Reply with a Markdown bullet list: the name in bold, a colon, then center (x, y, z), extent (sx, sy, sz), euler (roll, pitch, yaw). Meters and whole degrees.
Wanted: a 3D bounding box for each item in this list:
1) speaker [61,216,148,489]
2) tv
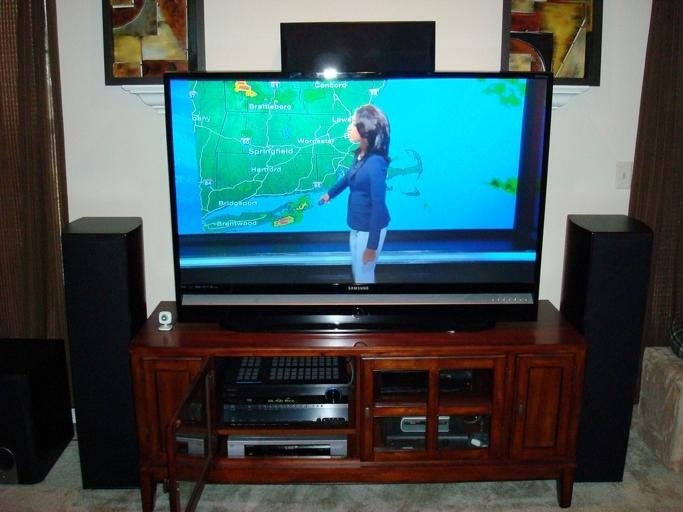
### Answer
- **speaker**: center (-1.120, 0.505, 3.078), extent (0.299, 1.255, 0.229), euler (0, 17, 1)
- **tv**: center (0.052, -0.279, 3.039), extent (1.710, 1.198, 0.469), euler (0, 1, 3)
